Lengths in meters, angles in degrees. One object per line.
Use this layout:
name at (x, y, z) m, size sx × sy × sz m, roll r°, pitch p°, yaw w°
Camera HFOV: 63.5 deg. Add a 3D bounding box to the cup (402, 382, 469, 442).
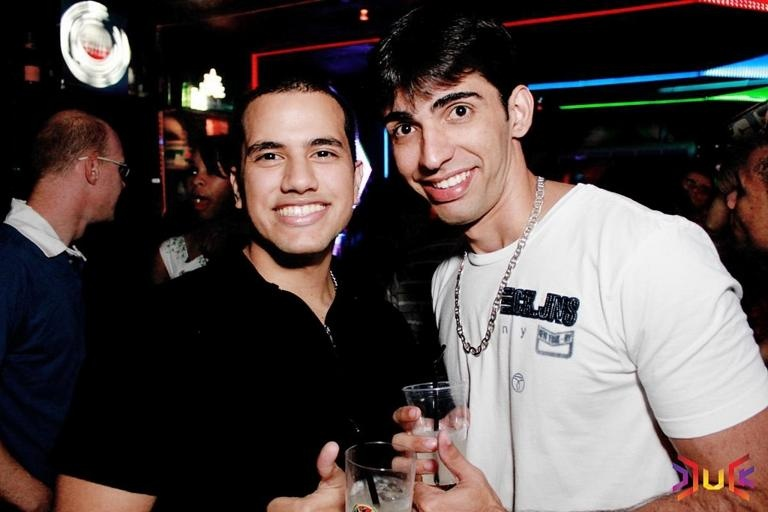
cup at (0.301, 0.888, 3.563) m, size 0.363 × 0.248 × 0.354 m, roll -1°, pitch -10°, yaw 0°
